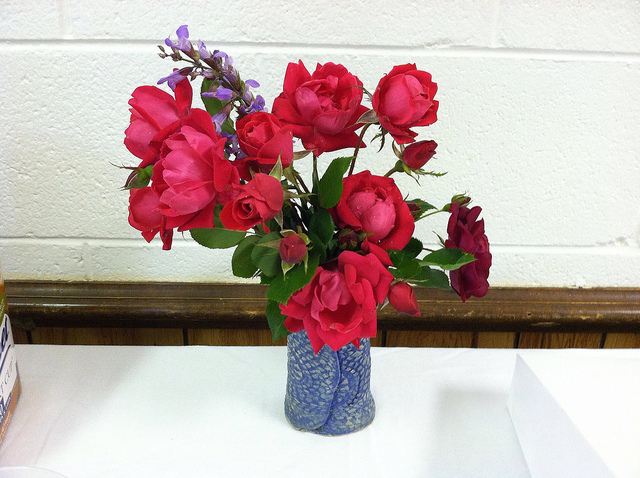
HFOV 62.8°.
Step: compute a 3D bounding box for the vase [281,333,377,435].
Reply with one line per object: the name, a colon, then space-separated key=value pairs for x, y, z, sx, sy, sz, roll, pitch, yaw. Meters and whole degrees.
vase: x=0.002 y=0.177 z=0.684 sx=0.140 sy=0.132 sz=0.185 roll=-1 pitch=-24 yaw=6
